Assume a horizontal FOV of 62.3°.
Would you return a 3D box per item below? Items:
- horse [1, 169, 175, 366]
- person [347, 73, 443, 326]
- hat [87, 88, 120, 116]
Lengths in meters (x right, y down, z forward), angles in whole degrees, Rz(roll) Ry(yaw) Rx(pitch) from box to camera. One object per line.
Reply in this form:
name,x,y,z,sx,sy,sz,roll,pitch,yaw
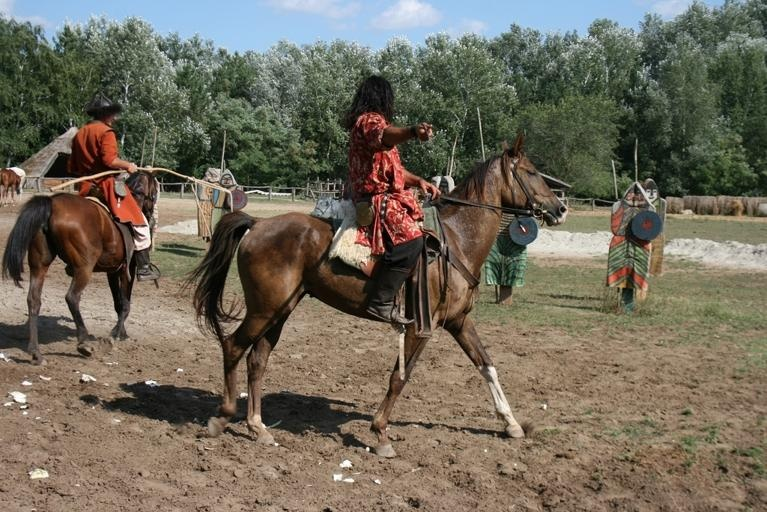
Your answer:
horse,-4.607,0.240,9.392,0.947,2.320,1.867,12,16,27
person,0.040,-0.615,7.609,1.148,3.007,0.584,16,19,38
hat,-4.298,-2.304,9.716,0.472,0.347,0.424,-3,15,-24
